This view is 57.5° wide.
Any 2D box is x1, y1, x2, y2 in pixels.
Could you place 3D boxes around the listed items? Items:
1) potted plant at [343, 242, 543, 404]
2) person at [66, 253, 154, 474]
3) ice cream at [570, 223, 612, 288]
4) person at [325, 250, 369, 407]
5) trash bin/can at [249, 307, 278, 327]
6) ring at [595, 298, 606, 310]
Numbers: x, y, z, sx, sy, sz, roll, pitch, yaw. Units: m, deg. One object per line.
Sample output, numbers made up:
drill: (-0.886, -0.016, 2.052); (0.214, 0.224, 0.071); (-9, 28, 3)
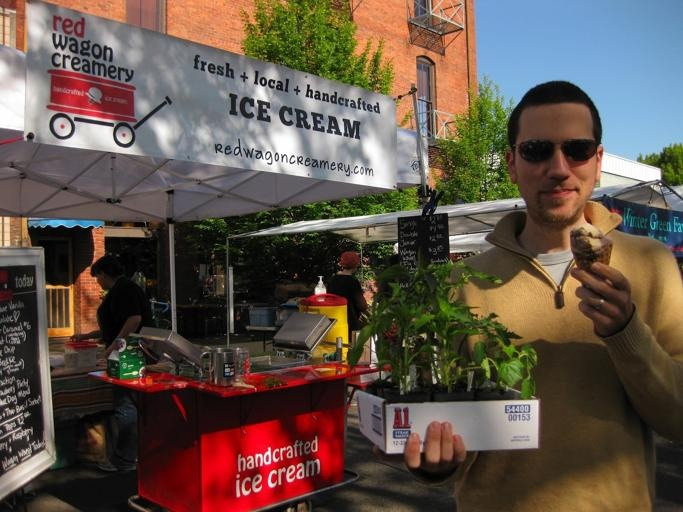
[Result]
potted plant: (0.353, 0.294, 2.236); (0.424, 0.612, 0.495); (6, 6, -19)
person: (-2.297, 0.948, 6.350); (0.811, 2.284, 0.775); (0, 0, -35)
ice cream: (0.778, -0.027, 1.952); (0.145, 0.157, 0.127); (-8, -5, 16)
person: (0.067, 0.800, 7.487); (0.606, 1.600, 0.570); (4, 4, 8)
trash bin/can: (-1.534, 1.177, 12.097); (0.502, 0.288, 0.510); (-2, -3, 43)
ring: (0.804, 0.148, 1.927); (0.008, 0.028, 0.031); (15, -11, -12)
